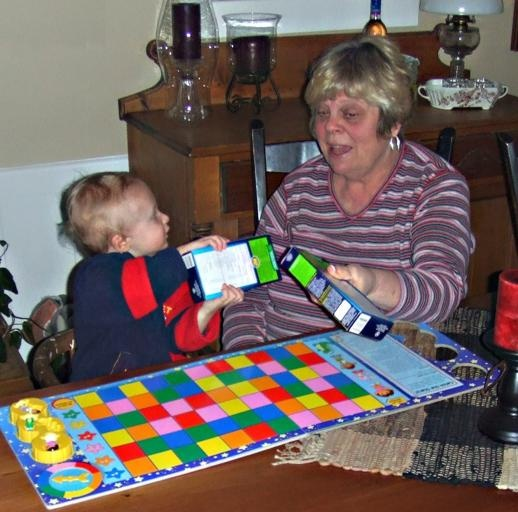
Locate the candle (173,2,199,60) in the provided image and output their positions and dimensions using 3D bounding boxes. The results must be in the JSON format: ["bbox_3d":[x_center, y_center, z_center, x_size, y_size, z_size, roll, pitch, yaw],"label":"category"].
[{"bbox_3d":[-0.286,-0.869,1.959,0.118,0.211,0.058,-6,18,-7],"label":"candle"}]
